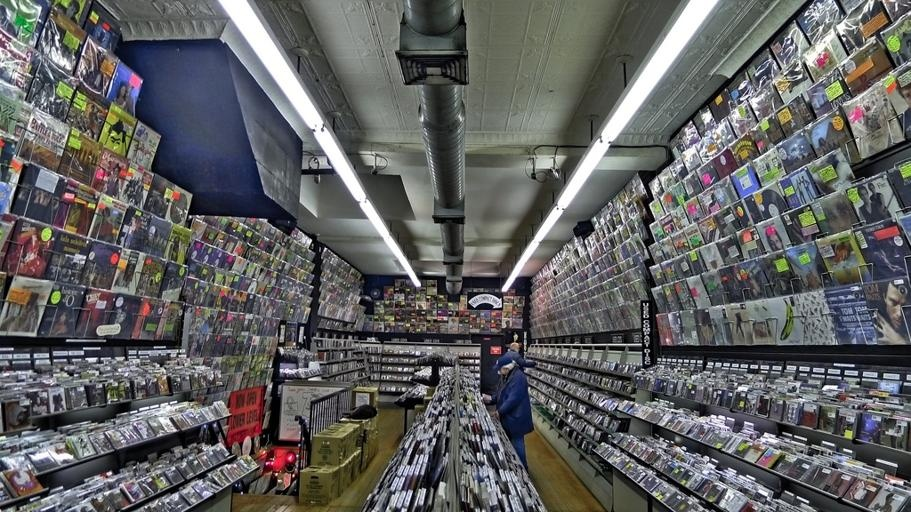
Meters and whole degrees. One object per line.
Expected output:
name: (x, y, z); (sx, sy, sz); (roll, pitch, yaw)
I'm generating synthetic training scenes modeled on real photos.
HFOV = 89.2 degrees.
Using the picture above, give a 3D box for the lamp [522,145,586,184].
lamp: (1.685, -1.639, 8.040); (0.928, 0.433, 0.480); (2, 13, -20)

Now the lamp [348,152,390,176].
lamp: (-1.462, -1.612, 7.913); (0.443, 0.101, 0.462); (-1, -8, 5)
